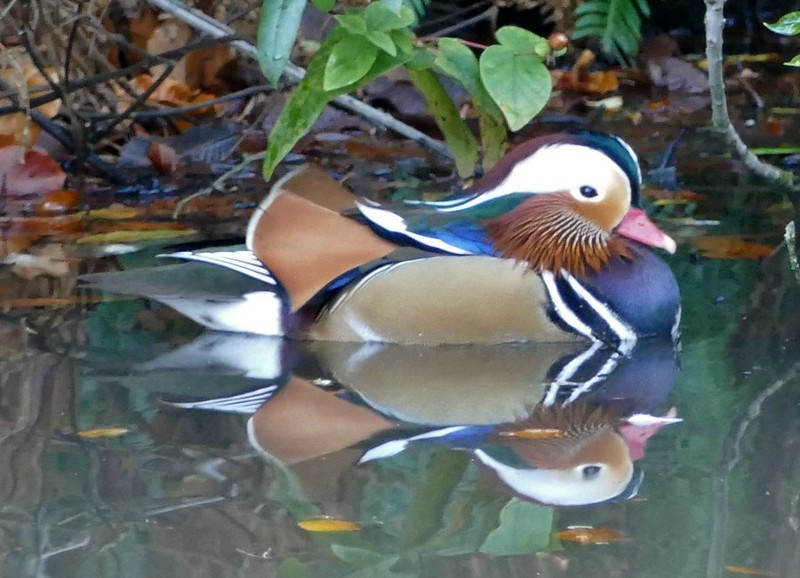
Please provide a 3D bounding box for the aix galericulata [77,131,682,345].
[{"bbox_3d":[0.067,-0.098,3.446,1.680,0.330,0.718,-7,82,0],"label":"aix galericulata"}]
